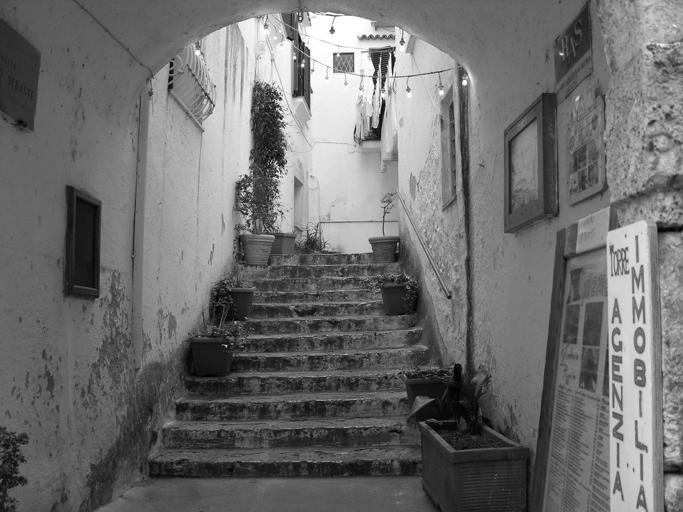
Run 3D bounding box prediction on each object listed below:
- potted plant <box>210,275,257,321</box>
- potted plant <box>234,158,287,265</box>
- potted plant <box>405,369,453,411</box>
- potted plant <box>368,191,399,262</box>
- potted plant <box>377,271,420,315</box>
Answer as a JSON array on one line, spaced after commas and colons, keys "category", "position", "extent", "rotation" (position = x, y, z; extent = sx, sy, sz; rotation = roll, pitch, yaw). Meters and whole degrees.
[{"category": "potted plant", "position": [-1.113, 0.422, 5.949], "extent": [0.326, 0.320, 0.384], "rotation": [-2, -1, 13]}, {"category": "potted plant", "position": [-1.010, -0.445, 7.194], "extent": [0.409, 1.075, 0.561], "rotation": [3, 11, 40]}, {"category": "potted plant", "position": [0.637, 1.028, 4.518], "extent": [0.232, 0.196, 0.379], "rotation": [4, -13, -23]}, {"category": "potted plant", "position": [0.585, -0.396, 7.929], "extent": [0.362, 1.040, 0.409], "rotation": [-5, -12, 32]}, {"category": "potted plant", "position": [0.612, 0.419, 6.335], "extent": [0.437, 0.471, 0.437], "rotation": [-1, -8, 2]}]
